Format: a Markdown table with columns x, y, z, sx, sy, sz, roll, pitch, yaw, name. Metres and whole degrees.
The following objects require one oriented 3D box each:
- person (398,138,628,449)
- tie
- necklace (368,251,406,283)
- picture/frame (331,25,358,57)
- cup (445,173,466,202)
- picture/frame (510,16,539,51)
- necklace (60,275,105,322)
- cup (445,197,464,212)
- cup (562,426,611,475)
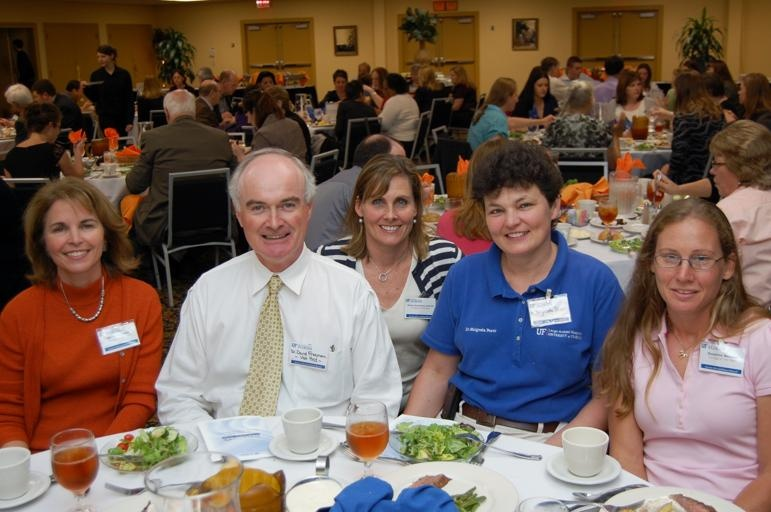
| x | y | z | sx | sy | sz | roll | pitch | yaw | name |
| --- | --- | --- | --- | --- | --- | --- | --- | --- | --- |
| 0.485 | 0.236 | 2.204 | 0.773 | 1.297 | 0.745 | 4 | 17 | 27 | person |
| -0.443 | 0.318 | 2.131 | 0.137 | 0.444 | 0.235 | 0 | 13 | 4 | tie |
| 0.014 | 0.061 | 2.743 | 0.077 | 0.152 | 0.041 | 38 | -3 | 15 | necklace |
| -1.114 | -6.015 | 16.280 | 0.762 | 0.939 | 0.065 | 1 | 7 | 11 | picture/frame |
| 0.469 | -0.469 | 3.961 | 0.150 | 0.192 | 0.175 | 0 | 5 | 2 | cup |
| 3.728 | -5.954 | 15.574 | 0.766 | 0.945 | 0.090 | 1 | 14 | 12 | picture/frame |
| -1.235 | 0.181 | 2.416 | 0.172 | 0.020 | 0.215 | -9 | 62 | -35 | necklace |
| 0.459 | -0.331 | 3.986 | 0.118 | 0.095 | 0.126 | 1 | 3 | 0 | cup |
| 0.566 | 0.547 | 1.648 | 0.111 | 0.100 | 0.127 | -1 | 2 | -1 | cup |
